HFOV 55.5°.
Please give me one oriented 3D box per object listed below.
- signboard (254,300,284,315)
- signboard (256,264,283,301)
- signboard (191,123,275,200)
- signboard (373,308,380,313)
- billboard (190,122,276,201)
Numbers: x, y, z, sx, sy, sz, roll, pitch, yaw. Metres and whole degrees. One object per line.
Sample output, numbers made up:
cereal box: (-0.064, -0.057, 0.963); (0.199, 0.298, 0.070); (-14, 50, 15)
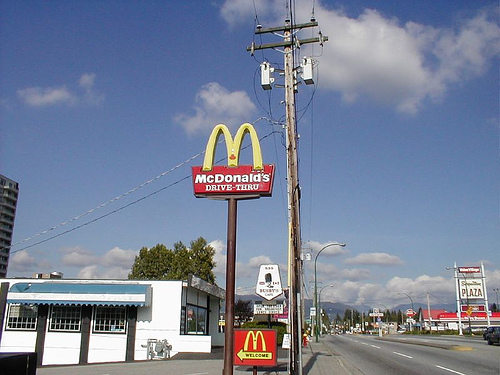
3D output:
signboard: (0.960, 6.114, 24.267); (1.508, 0.760, 1.147); (1, -14, 7)
signboard: (0.941, 4.695, 23.706); (1.371, 2.202, 0.206); (0, 23, 1)
signboard: (-0.947, -1.449, 25.857); (4.486, 5.221, 0.702); (-1, -35, 0)
signboard: (38.665, 37.550, 144.656); (1.568, 1.146, 19.403); (-1, -16, 14)
billboard: (-0.876, -1.356, 25.082); (4.022, 3.994, 0.690); (0, -12, 7)
